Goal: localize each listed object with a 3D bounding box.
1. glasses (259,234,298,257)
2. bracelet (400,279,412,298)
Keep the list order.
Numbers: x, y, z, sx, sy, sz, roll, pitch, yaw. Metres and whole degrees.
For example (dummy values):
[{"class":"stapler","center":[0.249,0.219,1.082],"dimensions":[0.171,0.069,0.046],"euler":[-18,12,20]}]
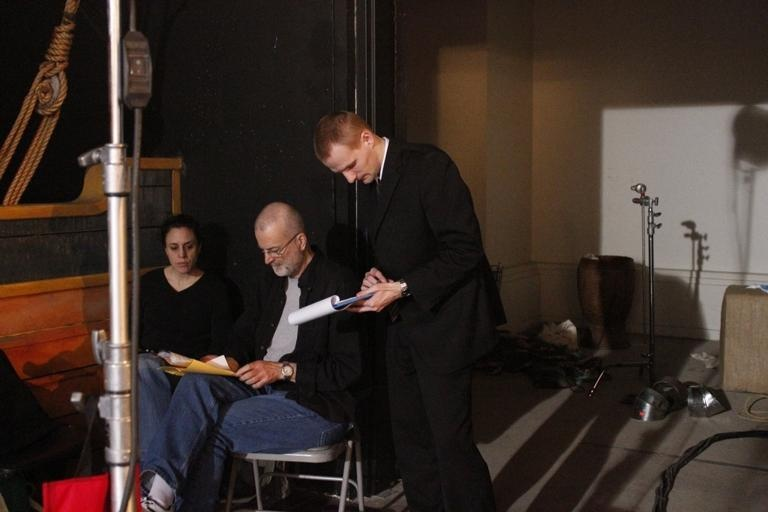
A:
[{"class":"glasses","center":[-0.561,-0.083,3.911],"dimensions":[0.125,0.038,0.133],"euler":[-12,26,46]},{"class":"bracelet","center":[0.106,0.164,3.672],"dimensions":[0.069,0.066,0.068],"euler":[5,22,11]}]
